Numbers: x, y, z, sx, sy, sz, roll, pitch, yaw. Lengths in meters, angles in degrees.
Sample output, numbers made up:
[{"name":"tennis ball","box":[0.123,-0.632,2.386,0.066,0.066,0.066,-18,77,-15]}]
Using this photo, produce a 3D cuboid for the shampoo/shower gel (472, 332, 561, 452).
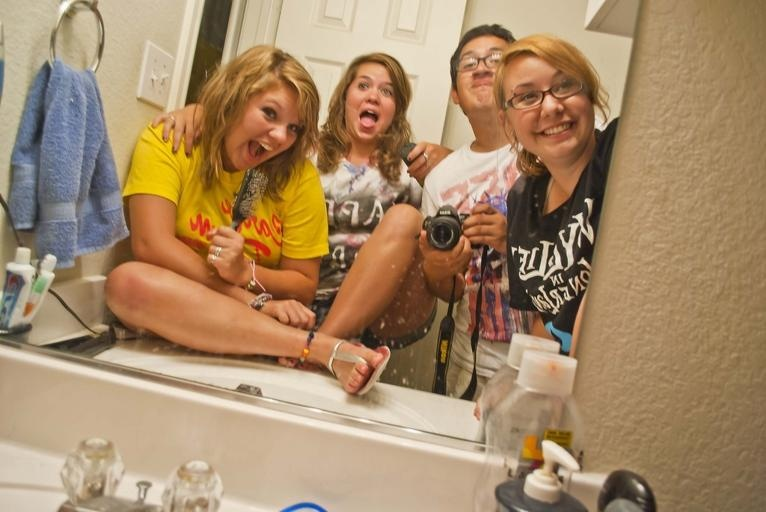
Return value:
[{"name":"shampoo/shower gel","box":[0.249,0.240,1.124,0.108,0.227,0.144,2,6,3]}]

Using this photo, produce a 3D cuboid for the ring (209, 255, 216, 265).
[{"name":"ring","box":[-0.356,0.005,1.237,0.012,0.008,0.017,-2,-1,-21]}]

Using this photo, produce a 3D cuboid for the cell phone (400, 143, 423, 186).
[{"name":"cell phone","box":[0.067,-0.188,1.187,0.051,0.072,0.019,-25,5,21]}]

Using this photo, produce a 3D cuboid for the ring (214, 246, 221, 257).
[{"name":"ring","box":[-0.345,-0.010,1.235,0.014,0.017,0.018,3,9,-44]}]

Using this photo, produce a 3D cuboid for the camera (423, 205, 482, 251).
[{"name":"camera","box":[0.126,-0.058,1.199,0.105,0.074,0.083,-3,8,11]}]

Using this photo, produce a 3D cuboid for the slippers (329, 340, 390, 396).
[{"name":"slippers","box":[-0.047,0.222,1.208,0.109,0.101,0.143,1,5,-26]}]

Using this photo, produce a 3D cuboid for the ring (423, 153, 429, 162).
[{"name":"ring","box":[0.087,-0.201,1.181,0.004,0.012,0.010,-4,-24,-41]}]

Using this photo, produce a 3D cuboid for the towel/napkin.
[{"name":"towel/napkin","box":[-0.671,-0.184,1.329,0.168,0.562,0.304,12,10,4]}]
